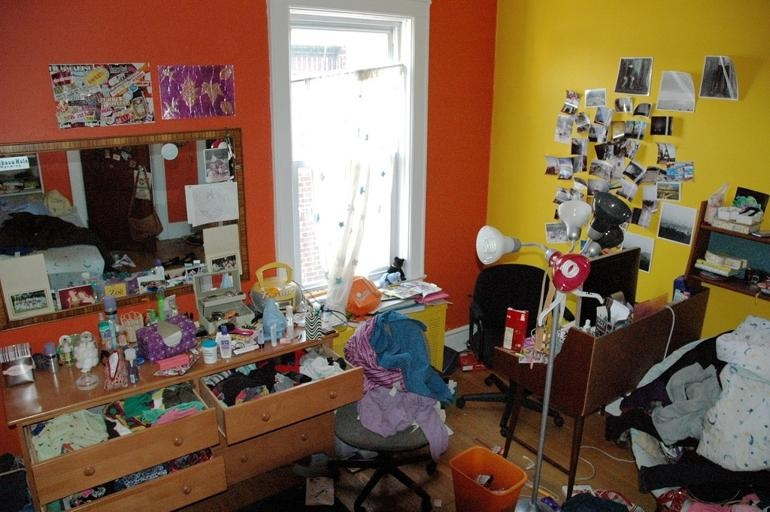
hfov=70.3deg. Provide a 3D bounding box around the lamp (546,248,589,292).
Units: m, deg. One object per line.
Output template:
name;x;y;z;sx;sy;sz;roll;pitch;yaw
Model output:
lamp;1.085;0.097;3.256;0.227;0.243;0.149;1;17;16

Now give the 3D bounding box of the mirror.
mirror;-1.762;-0.176;3.626;1.286;0.896;0.033;-11;14;-29

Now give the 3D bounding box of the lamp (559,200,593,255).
lamp;1.134;-0.187;3.334;0.186;0.301;0.301;8;21;36

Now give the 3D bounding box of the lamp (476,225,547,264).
lamp;0.716;-0.072;3.325;0.308;0.234;0.160;-17;21;-36

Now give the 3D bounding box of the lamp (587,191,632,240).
lamp;1.379;-0.258;3.372;0.220;0.270;0.189;0;17;14

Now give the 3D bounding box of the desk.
desk;1.286;1.101;4.301;0.768;1.197;1.623;10;-17;19

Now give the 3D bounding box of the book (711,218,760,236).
book;2.443;-0.211;3.833;0.276;0.088;0.098;6;20;30

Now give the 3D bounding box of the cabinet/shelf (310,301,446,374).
cabinet/shelf;0.035;0.484;4.718;1.070;0.770;0.572;-10;14;-39

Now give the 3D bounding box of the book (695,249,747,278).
book;2.419;0.056;3.940;0.211;0.084;0.223;-15;20;-32
